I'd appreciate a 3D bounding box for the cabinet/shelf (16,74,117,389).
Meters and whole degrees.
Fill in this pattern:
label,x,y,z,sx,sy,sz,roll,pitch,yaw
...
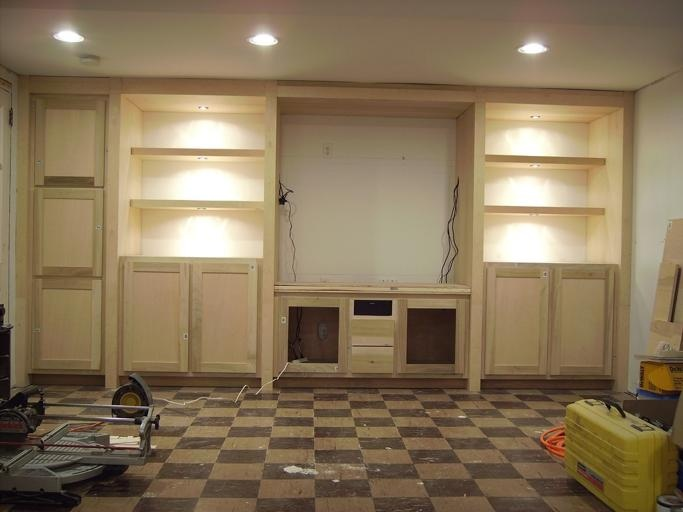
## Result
label,x,y,z,sx,sy,sz,roll,pitch,yaw
cabinet/shelf,-2.791,-0.144,5.590,0.834,2.799,0.766,1,12,-24

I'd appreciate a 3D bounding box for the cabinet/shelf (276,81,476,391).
label,x,y,z,sx,sy,sz,roll,pitch,yaw
cabinet/shelf,0.379,-0.198,5.618,2.034,2.876,1.023,1,10,-1
